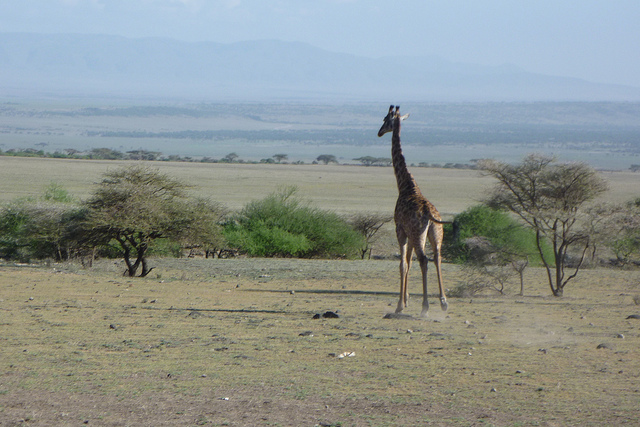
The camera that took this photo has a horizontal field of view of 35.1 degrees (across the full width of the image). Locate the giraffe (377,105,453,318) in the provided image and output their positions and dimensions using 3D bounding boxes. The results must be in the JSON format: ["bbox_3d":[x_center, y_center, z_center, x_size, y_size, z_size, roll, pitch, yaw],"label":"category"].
[{"bbox_3d":[3.263,-0.253,36.218,2.321,7.456,3.911,0,2,2],"label":"giraffe"}]
